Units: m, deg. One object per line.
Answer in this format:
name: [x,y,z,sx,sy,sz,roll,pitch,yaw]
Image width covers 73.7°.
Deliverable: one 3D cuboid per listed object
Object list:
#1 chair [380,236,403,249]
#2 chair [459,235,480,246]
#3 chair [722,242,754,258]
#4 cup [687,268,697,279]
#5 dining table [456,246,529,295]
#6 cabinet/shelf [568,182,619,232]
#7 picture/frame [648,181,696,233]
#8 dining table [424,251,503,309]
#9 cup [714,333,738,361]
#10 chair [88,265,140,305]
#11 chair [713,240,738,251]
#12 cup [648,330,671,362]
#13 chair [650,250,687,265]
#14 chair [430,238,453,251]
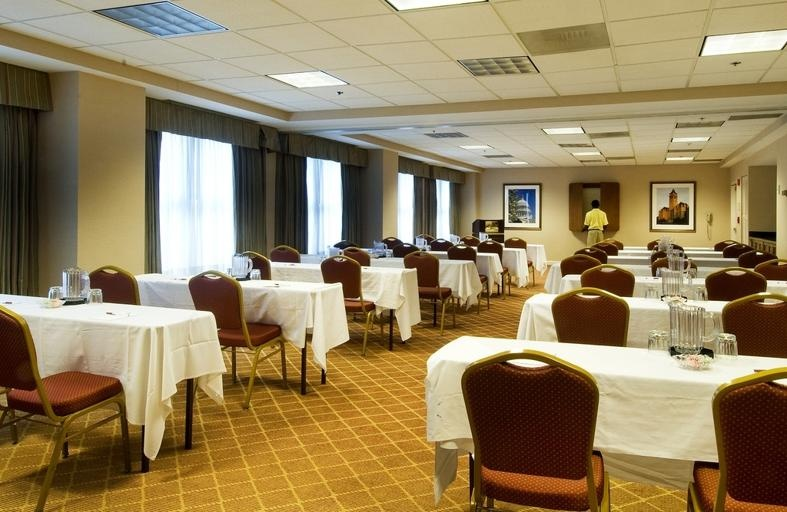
chair: [-0.018,-0.292,11.063,0.275,0.316,0.296,1,-4,-6]
chair: [1.644,-0.249,11.416,0.347,0.328,0.347,8,15,32]
chair: [5.742,-0.084,8.825,0.371,0.223,0.375,-2,0,34]
cup: [3.142,0.179,5.556,0.109,0.118,0.113,-2,15,1]
dining table: [2.183,0.180,10.456,1.165,0.603,1.051,5,12,36]
cabinet/shelf: [6.393,-1.601,16.725,1.859,1.896,0.575,-1,-3,31]
picture/frame: [8.891,-1.596,16.782,1.327,1.558,0.120,4,9,17]
dining table: [1.049,0.328,8.123,1.080,0.581,1.156,3,5,37]
cup: [2.043,0.560,3.243,0.145,0.200,0.143,0,-1,0]
chair: [-2.655,0.282,4.984,0.299,0.518,0.306,4,12,14]
chair: [6.691,-0.225,10.594,0.486,0.287,0.490,-4,-1,32]
cup: [1.707,0.566,3.419,0.143,0.134,0.139,0,-1,0]
chair: [3.457,0.009,6.637,0.340,0.327,0.208,4,5,41]
chair: [1.000,-0.239,11.140,0.274,0.227,0.380,0,1,16]
